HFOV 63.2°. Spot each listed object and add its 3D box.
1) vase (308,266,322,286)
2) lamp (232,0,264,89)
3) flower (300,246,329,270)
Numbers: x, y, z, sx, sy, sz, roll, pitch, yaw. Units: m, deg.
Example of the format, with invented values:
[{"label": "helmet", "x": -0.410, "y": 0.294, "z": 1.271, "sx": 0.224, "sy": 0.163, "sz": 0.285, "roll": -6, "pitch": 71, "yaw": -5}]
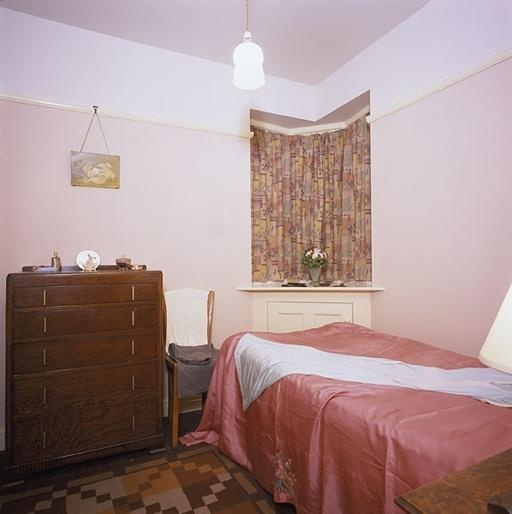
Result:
[{"label": "vase", "x": 0.586, "y": 0.180, "z": 4.100, "sx": 0.138, "sy": 0.181, "sz": 0.201, "roll": -3, "pitch": 3, "yaw": 8}, {"label": "lamp", "x": -0.048, "y": -1.126, "z": 2.359, "sx": 0.174, "sy": 0.347, "sz": 0.177, "roll": -3, "pitch": 3, "yaw": 1}, {"label": "flower", "x": 0.582, "y": 0.016, "z": 4.126, "sx": 0.268, "sy": 0.219, "sz": 0.224, "roll": -3, "pitch": 3, "yaw": 7}]
